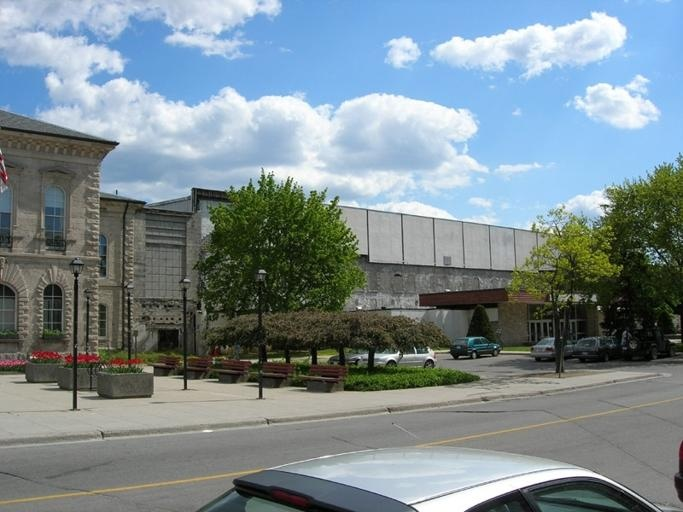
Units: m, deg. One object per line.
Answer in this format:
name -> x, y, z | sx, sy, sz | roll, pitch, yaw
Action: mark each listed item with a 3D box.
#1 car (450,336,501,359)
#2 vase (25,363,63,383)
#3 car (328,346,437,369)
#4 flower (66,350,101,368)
car -> 9.197, 6.301, 58.732 | 3.199, 1.076, 1.531 | -3, 1, -41
vase -> -12.937, 5.037, 36.875 | 1.407, 0.876, 0.936 | -1, 0, -8
car -> 2.416, 5.382, 44.770 | 4.882, 1.629, 2.167 | 8, -11, -36
flower -> -10.492, 4.300, 34.851 | 1.296, 0.563, 0.960 | 4, -5, -45
